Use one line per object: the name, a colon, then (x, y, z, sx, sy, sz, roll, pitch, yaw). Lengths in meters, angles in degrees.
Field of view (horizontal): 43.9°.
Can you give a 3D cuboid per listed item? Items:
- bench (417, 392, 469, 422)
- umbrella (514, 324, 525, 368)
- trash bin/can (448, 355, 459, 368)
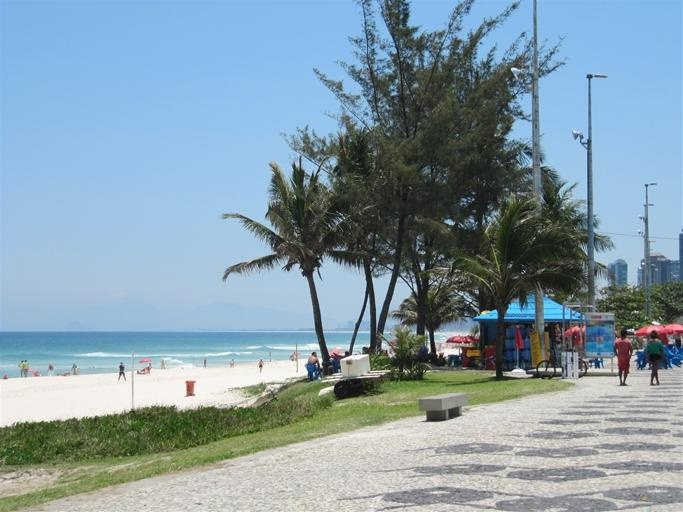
bench: (2.648, 4.024, 22.397, 0.778, 0.694, 1.172, -9, -11, 33)
umbrella: (7.705, 3.914, 36.654, 0.457, 1.796, 1.186, -4, -9, 11)
trash bin/can: (5.558, 5.186, 41.849, 0.413, 0.677, 0.403, 2, -5, -28)
